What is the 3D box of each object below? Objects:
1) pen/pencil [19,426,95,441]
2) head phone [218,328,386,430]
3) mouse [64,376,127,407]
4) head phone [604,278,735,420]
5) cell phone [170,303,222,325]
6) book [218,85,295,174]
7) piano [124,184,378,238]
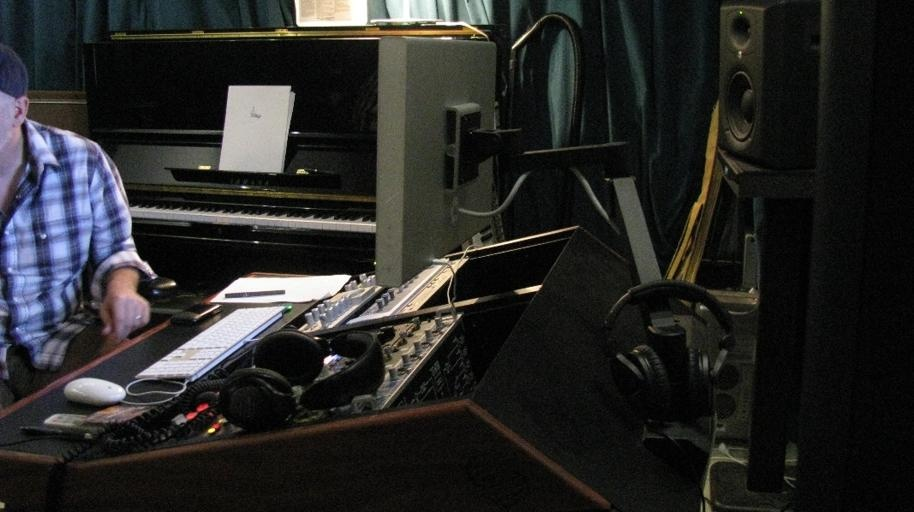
[{"bbox_3d":[-0.904,0.420,1.619,0.165,0.024,0.024,1,12,7],"label":"pen/pencil"},{"bbox_3d":[-0.304,0.258,1.452,0.299,0.111,0.214,-1,20,7],"label":"head phone"},{"bbox_3d":[-0.881,0.345,1.724,0.119,0.034,0.072,4,9,4],"label":"mouse"},{"bbox_3d":[0.475,0.228,1.633,0.271,0.321,0.133,2,11,-10],"label":"head phone"},{"bbox_3d":[-0.777,0.178,2.135,0.068,0.023,0.109,3,11,14],"label":"cell phone"},{"bbox_3d":[-1.006,-0.639,3.592,0.386,0.412,0.045,5,0,20],"label":"book"},{"bbox_3d":[-1.097,-0.152,3.641,1.487,0.274,0.235,4,-2,19],"label":"piano"}]
